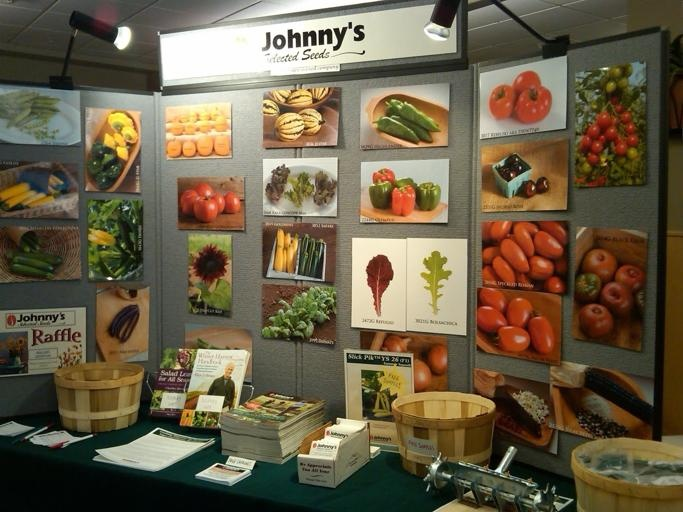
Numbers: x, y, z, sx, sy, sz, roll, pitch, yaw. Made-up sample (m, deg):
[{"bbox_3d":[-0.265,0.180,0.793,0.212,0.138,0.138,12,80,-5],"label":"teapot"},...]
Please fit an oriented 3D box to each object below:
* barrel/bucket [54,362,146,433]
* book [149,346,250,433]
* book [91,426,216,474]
[{"bbox_3d":[-1.373,0.768,2.819,0.450,0.304,0.542,-1,-3,18],"label":"barrel/bucket"},{"bbox_3d":[-0.770,0.697,2.769,0.448,0.441,0.324,7,7,35],"label":"book"},{"bbox_3d":[-1.002,0.959,2.555,0.468,0.046,0.616,-1,0,26],"label":"book"}]
